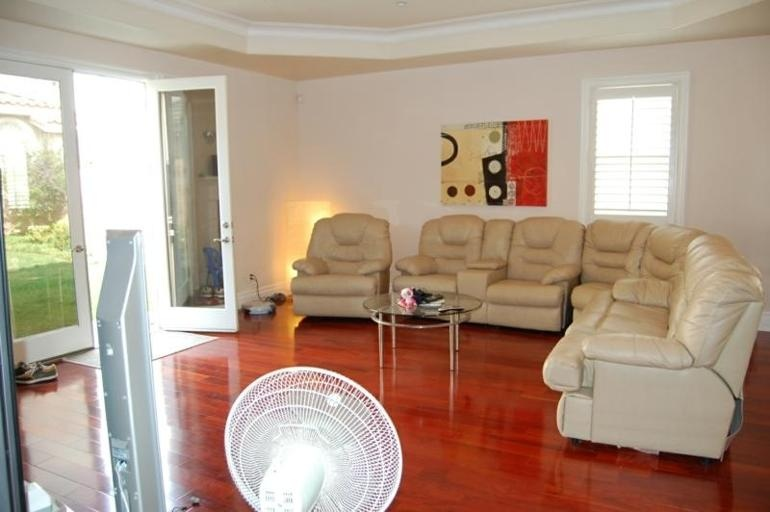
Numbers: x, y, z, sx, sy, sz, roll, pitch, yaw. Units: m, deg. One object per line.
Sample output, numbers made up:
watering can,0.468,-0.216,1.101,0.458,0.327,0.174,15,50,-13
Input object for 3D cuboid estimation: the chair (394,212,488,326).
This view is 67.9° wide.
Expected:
chair,0.505,0.097,6.918,1.240,1.145,1.168,1,3,24

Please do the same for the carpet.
carpet,-1.901,0.745,4.450,0.725,0.024,0.638,2,4,30

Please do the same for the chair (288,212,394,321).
chair,-0.588,0.085,7.173,1.343,1.207,1.297,1,4,13

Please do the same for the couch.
couch,2.152,0.471,5.078,1.353,1.425,2.842,2,9,16

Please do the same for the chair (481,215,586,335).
chair,1.787,0.142,6.617,1.139,1.282,1.366,3,9,31
